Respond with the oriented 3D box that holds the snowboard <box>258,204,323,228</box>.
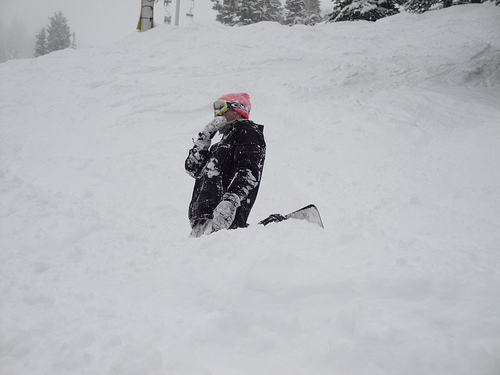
[{"bbox_3d":[0.533,0.395,8.144,0.895,0.383,0.162,1,-20,-2],"label":"snowboard"}]
